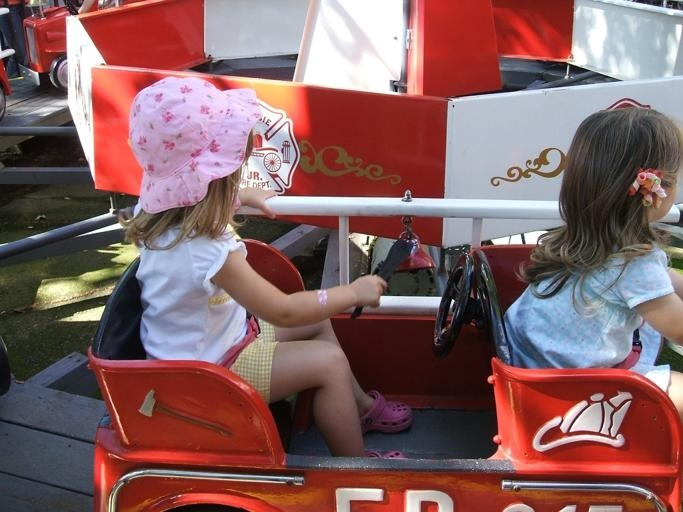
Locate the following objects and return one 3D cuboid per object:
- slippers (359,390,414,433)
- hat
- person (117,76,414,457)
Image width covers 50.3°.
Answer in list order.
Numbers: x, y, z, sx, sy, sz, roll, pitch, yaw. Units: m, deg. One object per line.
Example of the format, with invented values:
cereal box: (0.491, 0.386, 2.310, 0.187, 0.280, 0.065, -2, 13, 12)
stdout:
slippers: (0.105, 0.444, 2.095, 0.200, 0.078, 0.094, -5, 18, -4)
hat: (-0.345, -0.278, 1.812, 0.346, 0.321, 0.223, -11, 24, -17)
person: (-0.179, 0.062, 2.116, 0.925, 1.028, 0.824, 9, 18, 5)
